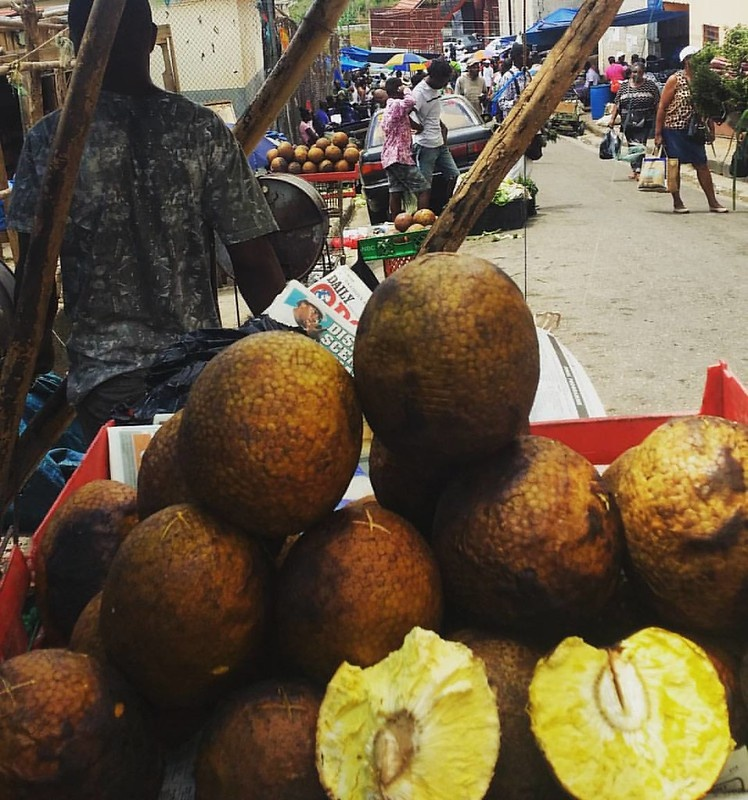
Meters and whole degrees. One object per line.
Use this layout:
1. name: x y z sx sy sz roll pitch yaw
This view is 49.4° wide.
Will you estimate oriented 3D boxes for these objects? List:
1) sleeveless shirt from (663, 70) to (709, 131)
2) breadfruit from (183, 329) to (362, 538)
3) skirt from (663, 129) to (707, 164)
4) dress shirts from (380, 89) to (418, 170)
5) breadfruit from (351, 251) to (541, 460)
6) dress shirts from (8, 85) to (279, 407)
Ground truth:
1. sleeveless shirt: 4.123 -4.160 11.043 0.792 0.800 0.406 -29 30 -32
2. breadfruit: -0.159 0.030 1.361 0.308 0.358 0.295 1 13 -13
3. skirt: 4.260 -3.455 11.124 0.616 0.469 0.413 10 22 16
4. dress shirts: 0.341 -3.640 11.031 0.467 0.957 0.681 4 21 0
5. breadfruit: 0.091 -0.073 1.400 0.317 0.385 0.314 -8 12 -4
6. dress shirts: -0.699 -0.514 2.653 0.692 0.927 0.278 -9 24 -29
